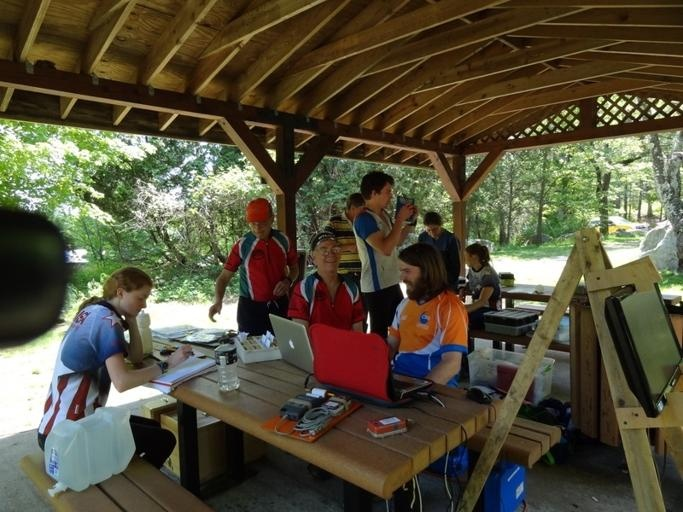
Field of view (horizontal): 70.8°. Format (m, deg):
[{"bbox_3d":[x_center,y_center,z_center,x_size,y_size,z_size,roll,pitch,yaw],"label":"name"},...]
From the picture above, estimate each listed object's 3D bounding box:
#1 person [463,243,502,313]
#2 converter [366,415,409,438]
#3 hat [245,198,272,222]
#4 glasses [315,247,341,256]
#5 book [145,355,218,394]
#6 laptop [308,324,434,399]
[{"bbox_3d":[1.350,0.244,4.945,0.562,0.706,0.535,0,6,27],"label":"person"},{"bbox_3d":[0.211,0.743,2.123,0.136,0.049,0.075,-5,7,-28],"label":"converter"},{"bbox_3d":[-0.648,-0.359,3.759,0.163,0.116,0.216,0,10,3],"label":"hat"},{"bbox_3d":[-0.090,-0.038,3.164,0.155,0.069,0.078,-3,12,-4],"label":"glasses"},{"bbox_3d":[-0.887,0.671,2.717,0.229,0.052,0.220,-7,11,29],"label":"book"},{"bbox_3d":[0.170,0.494,2.466,0.533,0.381,0.366,7,17,39],"label":"laptop"}]
